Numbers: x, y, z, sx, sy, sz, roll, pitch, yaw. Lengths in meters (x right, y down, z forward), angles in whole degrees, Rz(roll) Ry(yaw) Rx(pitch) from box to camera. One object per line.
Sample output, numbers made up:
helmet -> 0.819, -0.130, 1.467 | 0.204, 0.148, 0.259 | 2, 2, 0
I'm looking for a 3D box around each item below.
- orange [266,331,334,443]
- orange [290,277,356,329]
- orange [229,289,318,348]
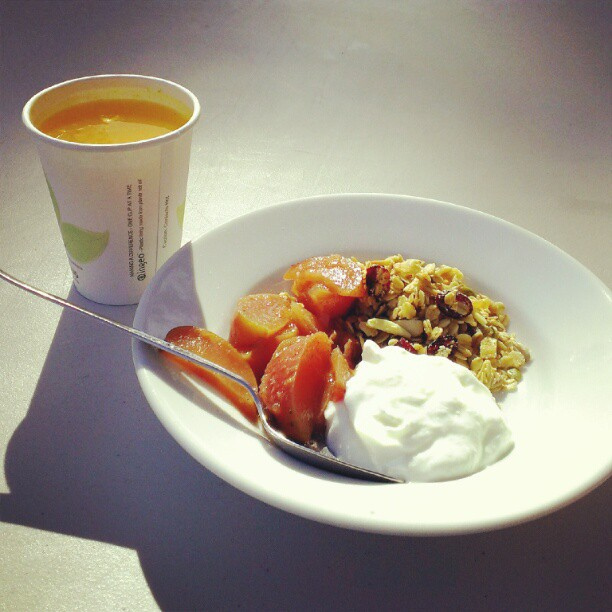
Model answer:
orange -> -0.022, 0.121, 1.163 | 0.116, 0.083, 0.251 | -4, 32, 16
orange -> 0.036, -0.009, 1.309 | 0.100, 0.118, 0.040 | 2, 35, 30
orange -> -0.063, 0.013, 1.257 | 0.104, 0.050, 0.138 | 25, 30, 8
